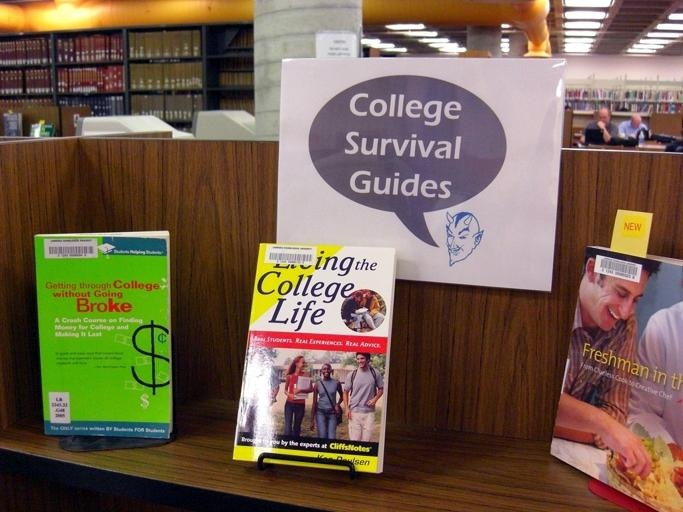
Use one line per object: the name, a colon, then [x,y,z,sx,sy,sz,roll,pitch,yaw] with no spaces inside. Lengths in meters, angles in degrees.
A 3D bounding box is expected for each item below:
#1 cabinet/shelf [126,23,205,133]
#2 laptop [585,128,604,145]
cabinet/shelf: [-2.457,-2.542,9.099,1.105,1.595,1.561,1,8,4]
laptop: [2.851,-1.366,6.739,0.243,0.169,0.293,7,11,37]
